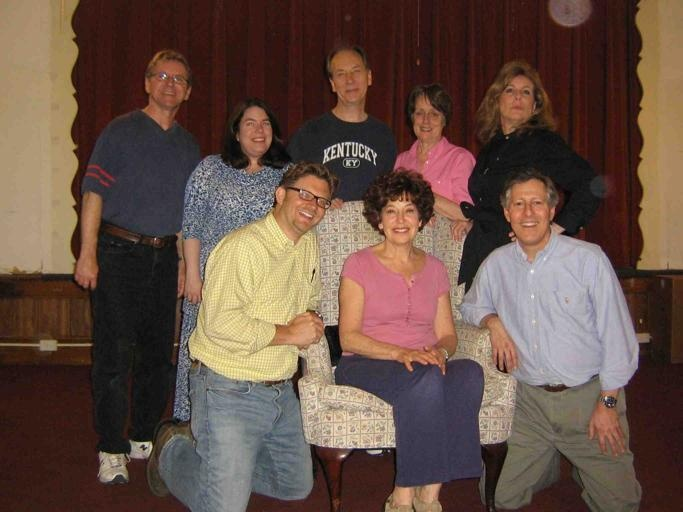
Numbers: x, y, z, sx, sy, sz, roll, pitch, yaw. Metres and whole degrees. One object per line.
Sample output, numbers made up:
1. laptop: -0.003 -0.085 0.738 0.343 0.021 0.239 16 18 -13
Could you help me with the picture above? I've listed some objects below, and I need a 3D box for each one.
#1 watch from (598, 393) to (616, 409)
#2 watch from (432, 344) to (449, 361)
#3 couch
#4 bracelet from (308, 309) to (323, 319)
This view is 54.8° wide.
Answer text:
1. watch: 1.484 0.806 3.656 0.069 0.076 0.027 -1 22 19
2. watch: 0.560 0.544 3.680 0.071 0.038 0.095 32 -7 36
3. couch: 0.206 0.458 4.354 1.585 2.407 1.574 0 -1 -8
4. bracelet: -0.140 0.334 3.725 0.072 0.029 0.054 32 -8 -14
